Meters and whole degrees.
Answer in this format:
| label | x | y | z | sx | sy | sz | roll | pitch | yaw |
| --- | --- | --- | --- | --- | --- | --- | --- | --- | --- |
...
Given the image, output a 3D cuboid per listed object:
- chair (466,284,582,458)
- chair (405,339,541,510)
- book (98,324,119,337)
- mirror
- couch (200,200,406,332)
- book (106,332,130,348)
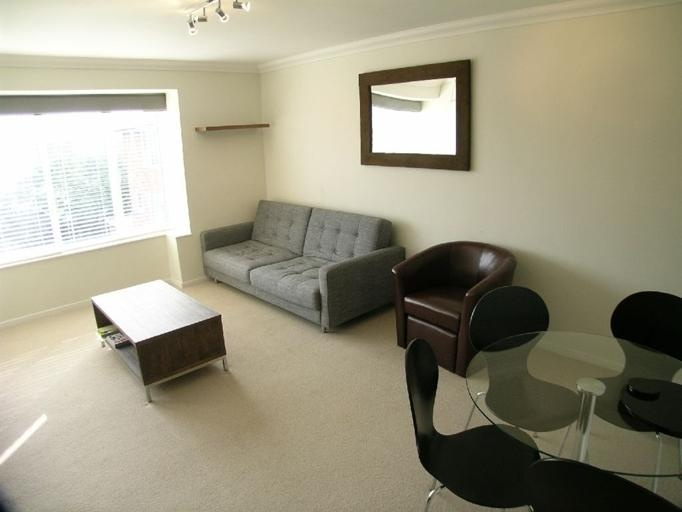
| label | x | y | z | sx | sy | sz | roll | pitch | yaw |
| --- | --- | --- | --- | --- | --- | --- | --- | --- | --- |
| chair | 1.036 | 0.793 | 2.947 | 0.515 | 1.019 | 0.670 | -6 | 25 | -8 |
| chair | 0.772 | 1.015 | 2.951 | 0.619 | 0.995 | 0.520 | 10 | 37 | 32 |
| book | -2.239 | 0.693 | 4.836 | 0.129 | 0.045 | 0.121 | 17 | 20 | 38 |
| mirror | 0.741 | -1.401 | 4.915 | 1.121 | 0.964 | 0.043 | 9 | 15 | 40 |
| couch | -0.474 | 0.002 | 5.628 | 2.115 | 0.993 | 1.104 | 17 | 25 | 41 |
| book | -1.962 | 0.751 | 4.469 | 0.102 | 0.052 | 0.190 | -14 | 24 | -38 |
